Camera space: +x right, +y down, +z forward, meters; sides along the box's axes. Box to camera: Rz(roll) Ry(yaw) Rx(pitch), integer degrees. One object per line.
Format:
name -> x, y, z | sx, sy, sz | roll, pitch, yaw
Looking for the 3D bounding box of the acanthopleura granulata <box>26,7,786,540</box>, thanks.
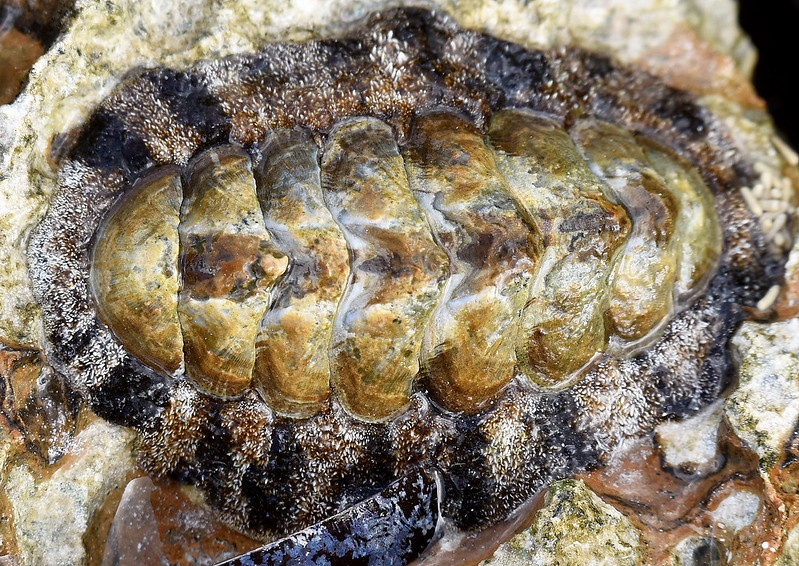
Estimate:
acanthopleura granulata -> -0.018, -0.110, 8.444 | 5.618, 1.019, 3.966 | -13, 84, -1
